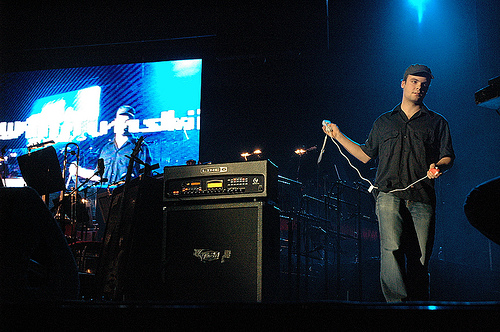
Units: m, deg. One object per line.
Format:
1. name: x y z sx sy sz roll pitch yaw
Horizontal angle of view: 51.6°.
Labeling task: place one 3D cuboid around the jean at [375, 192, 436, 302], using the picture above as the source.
1. jean: 1.460 0.771 4.967 0.551 0.967 0.495 3 13 18

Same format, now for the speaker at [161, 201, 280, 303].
1. speaker: -0.315 0.855 5.010 0.996 0.948 0.566 -3 -12 16

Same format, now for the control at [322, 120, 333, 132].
1. control: 0.785 -0.420 5.353 0.086 0.103 0.187 -1 12 3

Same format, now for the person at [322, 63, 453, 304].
1. person: 1.539 0.134 5.077 0.918 2.172 1.001 -2 12 -4

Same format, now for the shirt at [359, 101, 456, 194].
1. shirt: 1.709 -0.194 5.488 1.129 1.080 0.492 6 -23 15

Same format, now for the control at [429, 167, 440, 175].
1. control: 1.717 0.051 4.844 0.078 0.076 0.019 10 0 1
